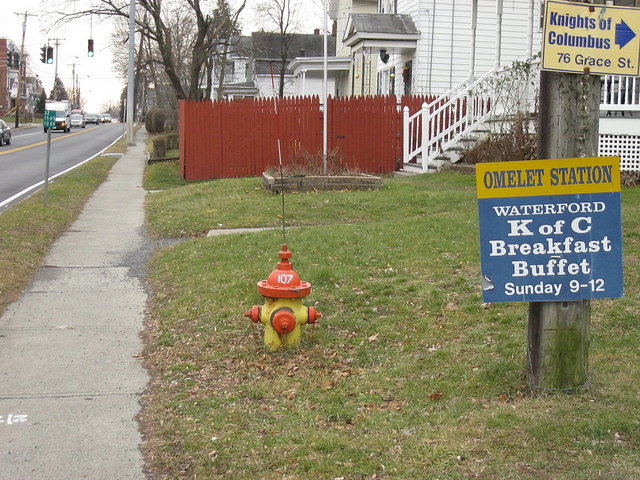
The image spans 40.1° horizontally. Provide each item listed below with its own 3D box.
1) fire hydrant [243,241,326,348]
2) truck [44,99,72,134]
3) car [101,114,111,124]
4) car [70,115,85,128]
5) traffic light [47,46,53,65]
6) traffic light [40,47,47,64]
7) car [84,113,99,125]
[{"bbox_3d":[-0.418,0.633,10.112,0.870,1.198,0.826,3,10,-3],"label":"fire hydrant"},{"bbox_3d":[-19.425,-9.167,65.360,1.846,2.557,4.199,-1,11,-8],"label":"truck"},{"bbox_3d":[-27.122,-15.342,110.988,1.325,1.404,2.497,-1,-1,-10],"label":"car"},{"bbox_3d":[-21.833,-10.661,79.089,1.024,0.946,2.011,-1,2,-8],"label":"car"},{"bbox_3d":[-13.244,-9.136,42.995,0.262,0.560,0.906,-6,13,-20],"label":"traffic light"},{"bbox_3d":[-13.376,-8.931,42.560,0.298,0.713,0.754,-7,12,-21],"label":"traffic light"},{"bbox_3d":[-24.173,-12.705,92.938,1.091,1.055,2.215,-4,13,-5],"label":"car"}]
